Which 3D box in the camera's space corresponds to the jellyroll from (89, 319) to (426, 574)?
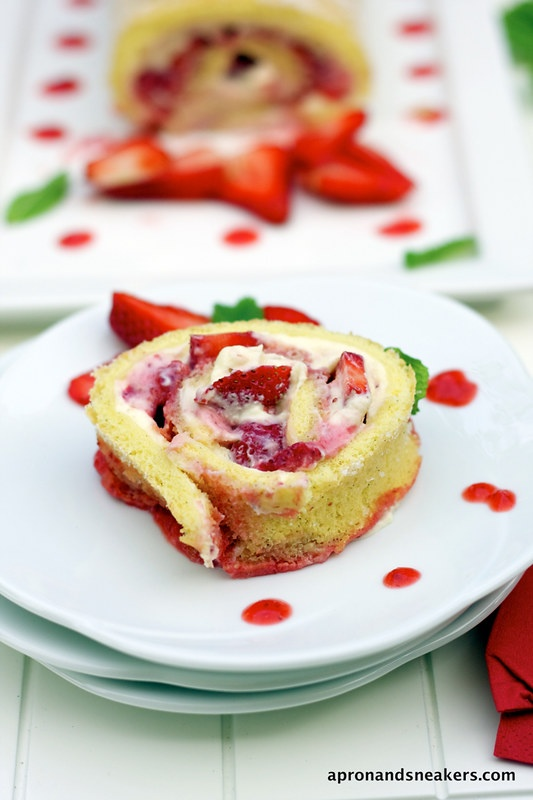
[{"bbox_3d":[-0.026,0.049,0.993,0.365,0.109,0.327,15,37,22],"label":"jellyroll"}]
